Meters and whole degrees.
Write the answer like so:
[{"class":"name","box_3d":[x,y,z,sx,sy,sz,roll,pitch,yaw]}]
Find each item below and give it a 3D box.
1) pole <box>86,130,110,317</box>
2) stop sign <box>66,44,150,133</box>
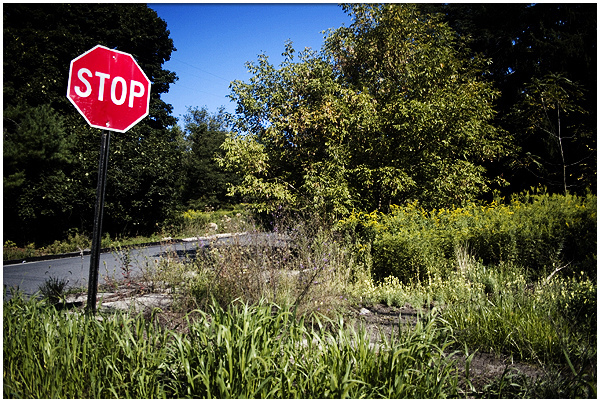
[{"class":"pole","box_3d":[-2.931,0.288,6.659,0.148,2.686,0.332,4,-7,-25]},{"class":"stop sign","box_3d":[-2.971,-1.727,7.222,1.208,1.437,0.755,5,-7,-29]}]
